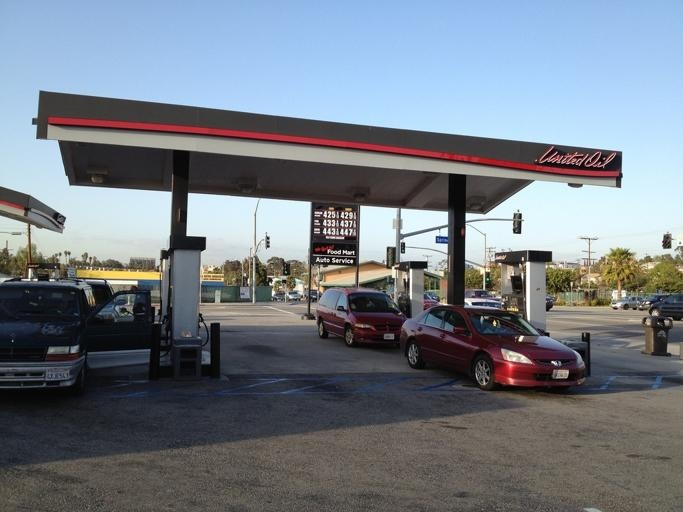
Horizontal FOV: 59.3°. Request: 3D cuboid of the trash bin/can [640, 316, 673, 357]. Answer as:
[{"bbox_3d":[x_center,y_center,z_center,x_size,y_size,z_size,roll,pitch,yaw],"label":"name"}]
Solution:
[{"bbox_3d":[9.913,2.468,18.835,0.760,1.252,1.212,-2,-3,26],"label":"trash bin/can"}]
